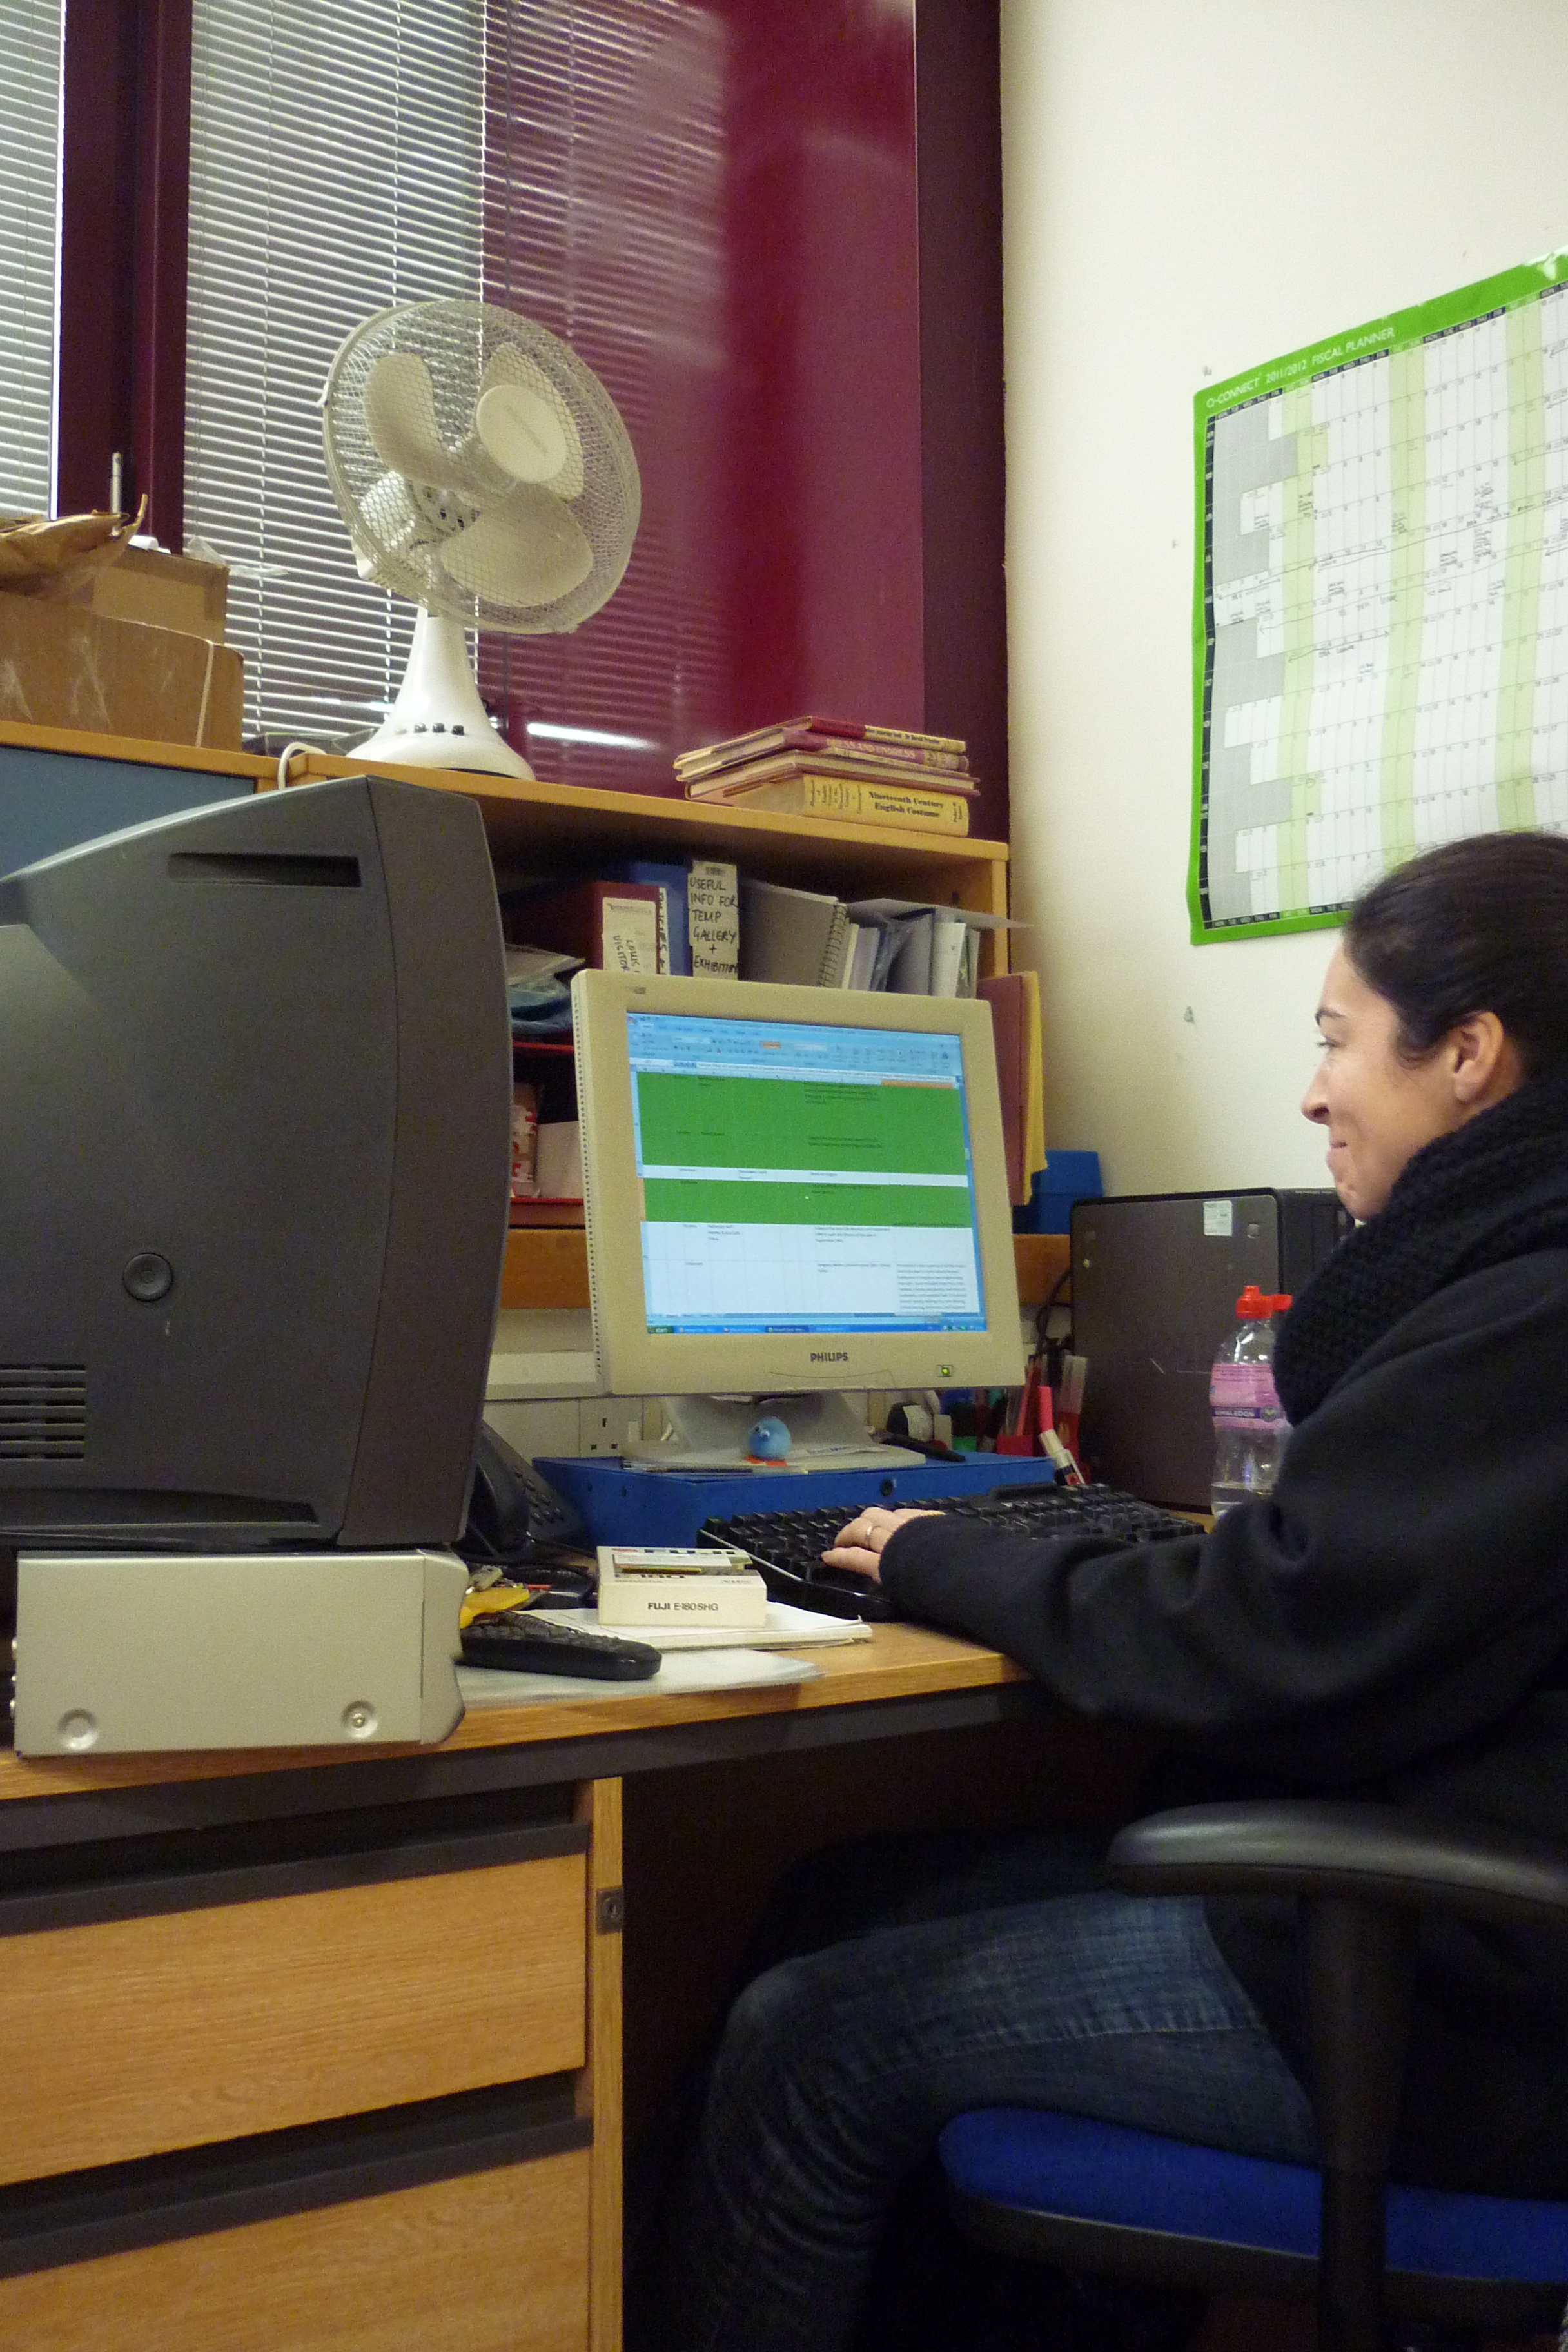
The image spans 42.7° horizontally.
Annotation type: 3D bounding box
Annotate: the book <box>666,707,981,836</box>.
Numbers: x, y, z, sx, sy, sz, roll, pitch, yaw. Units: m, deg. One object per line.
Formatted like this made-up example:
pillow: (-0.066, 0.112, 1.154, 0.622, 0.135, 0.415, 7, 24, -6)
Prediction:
book: (0.006, -0.457, 2.331, 0.205, 0.065, 0.200, -3, 6, -44)

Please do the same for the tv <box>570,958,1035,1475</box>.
tv: (-0.003, 0.020, 1.843, 0.436, 0.370, 0.149, 2, -7, -31)

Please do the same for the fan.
fan: (-0.365, -0.654, 2.097, 0.288, 0.455, 0.352, -10, -14, 43)

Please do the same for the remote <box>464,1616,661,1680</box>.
remote: (-0.131, 0.260, 1.132, 0.091, 0.018, 0.038, 1, 2, 21)

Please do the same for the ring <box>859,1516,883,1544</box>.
ring: (0.061, 0.248, 1.400, 0.006, 0.013, 0.013, 32, -26, -18)
